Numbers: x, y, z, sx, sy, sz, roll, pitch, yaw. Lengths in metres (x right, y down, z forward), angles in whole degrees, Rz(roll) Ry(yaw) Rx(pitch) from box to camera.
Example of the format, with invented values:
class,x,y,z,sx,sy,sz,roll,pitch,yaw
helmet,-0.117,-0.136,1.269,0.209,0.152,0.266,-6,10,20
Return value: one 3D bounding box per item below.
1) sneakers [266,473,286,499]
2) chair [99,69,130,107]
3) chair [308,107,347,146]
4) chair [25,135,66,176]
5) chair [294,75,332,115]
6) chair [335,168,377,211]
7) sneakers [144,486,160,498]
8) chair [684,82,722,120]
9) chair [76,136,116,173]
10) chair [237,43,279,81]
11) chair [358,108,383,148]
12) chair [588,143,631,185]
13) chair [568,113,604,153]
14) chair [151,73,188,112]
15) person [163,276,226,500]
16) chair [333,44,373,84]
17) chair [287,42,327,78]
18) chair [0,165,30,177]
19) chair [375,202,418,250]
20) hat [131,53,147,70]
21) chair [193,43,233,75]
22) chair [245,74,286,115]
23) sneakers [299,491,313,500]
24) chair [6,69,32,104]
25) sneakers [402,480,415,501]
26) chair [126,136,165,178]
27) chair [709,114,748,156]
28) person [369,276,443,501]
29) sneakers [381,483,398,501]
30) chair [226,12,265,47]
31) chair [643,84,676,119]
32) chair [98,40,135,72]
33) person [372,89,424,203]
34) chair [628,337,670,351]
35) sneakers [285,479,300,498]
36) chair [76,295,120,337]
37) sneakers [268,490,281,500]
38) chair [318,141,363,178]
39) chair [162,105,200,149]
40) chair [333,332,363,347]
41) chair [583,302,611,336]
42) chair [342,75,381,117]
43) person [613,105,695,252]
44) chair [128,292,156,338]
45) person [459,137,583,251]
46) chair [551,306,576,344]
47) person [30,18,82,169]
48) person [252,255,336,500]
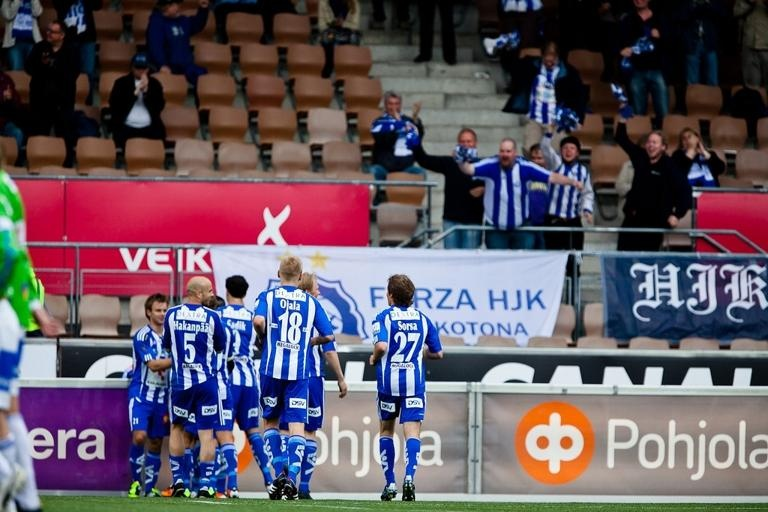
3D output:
class,x,y,z,sx,sy,sz,roll,pitch,yaw
sneakers,-1.473,3.133,27.595,0.254,0.350,0.173,-3,4,-5
chair,-4.561,-2.784,34.264,0.492,0.734,0.564,1,9,-10
chair,-0.966,-2.132,33.759,0.668,0.600,0.470,-4,4,-6
chair,-5.605,-1.608,33.153,0.703,0.845,0.720,5,10,-3
chair,-1.236,-2.703,34.624,0.720,0.665,0.745,-6,12,-43
chair,-0.488,-0.994,32.188,0.591,0.810,0.604,0,3,-2
sneakers,-3.279,3.298,28.305,0.201,0.165,0.115,-1,6,-5
chair,5.502,-2.640,34.914,0.518,0.719,0.582,0,7,-2
chair,-4.732,-1.539,32.975,0.594,0.709,0.650,2,-5,-16
chair,-2.185,-3.315,35.030,0.781,0.765,0.726,2,19,-1
chair,-0.321,-2.110,33.736,0.409,0.775,0.519,1,9,-5
chair,3.690,-1.463,33.245,0.546,0.798,0.601,1,4,-5
chair,3.477,-1.970,33.814,0.482,0.842,0.574,-1,19,-4
chair,-3.623,-2.723,33.818,0.514,0.535,0.453,5,2,-7
person,-2.640,1.822,28.022,0.820,2.997,0.565,0,5,35
chair,-0.549,-3.507,34.978,0.622,0.608,0.555,5,43,3
chair,-1.417,-3.280,35.228,0.750,0.633,0.715,-3,11,-13
chair,-5.648,-1.250,30.641,0.440,0.110,0.122,7,-41,-43
chair,0.170,-0.478,31.731,0.621,0.698,0.729,0,2,-13
hat,-3.984,-3.100,32.679,0.259,0.250,0.235,-4,4,-10
chair,-2.979,-3.341,34.715,0.510,0.622,0.507,0,0,-42
chair,-2.052,-2.700,34.220,0.631,0.600,0.595,11,-6,12
sneakers,-1.103,3.305,27.883,0.146,0.167,0.100,17,-10,-33
chair,-6.215,-2.830,34.328,0.467,0.690,0.535,0,2,-13
sneakers,0.321,3.210,27.743,0.182,0.312,0.217,-3,4,-6
chair,-3.925,-1.566,32.895,0.554,0.929,0.616,0,7,-10
chair,5.876,-2.023,34.399,0.509,0.782,0.613,1,-1,-1
person,0.266,1.835,27.928,0.910,3.088,0.712,-3,4,-6
sneakers,0.056,3.244,27.878,0.216,0.260,0.347,-3,4,-6
chair,-2.498,-3.891,35.518,0.708,0.631,0.720,2,7,7
chair,4.764,-2.552,34.547,0.367,0.536,0.514,0,-2,3
chair,-4.637,-3.378,34.703,0.492,0.626,0.535,0,2,9
person,0.232,-1.652,32.239,0.957,2.017,0.910,-5,-8,40
chair,3.974,1.304,30.247,0.583,0.180,0.168,-3,4,9
sneakers,-1.284,3.178,27.621,0.126,0.285,0.264,0,5,40
chair,-4.275,0.857,30.143,0.634,0.709,0.603,-3,-23,1
sneakers,-1.513,3.263,27.636,0.084,0.104,0.147,-1,3,-39
chair,-0.720,-1.517,32.729,0.504,0.828,0.625,0,-5,-7
chair,-3.422,-2.101,33.539,0.526,0.764,0.578,-2,11,-18
chair,-0.555,1.252,30.115,0.773,0.115,0.209,2,34,-9
chair,3.203,0.939,30.480,0.319,0.459,0.492,2,14,11
chair,-0.383,-2.641,34.612,0.691,0.796,0.656,-1,1,10
person,4.161,-1.119,31.200,1.140,2.076,0.741,-2,4,9
chair,-3.745,0.869,30.347,0.376,0.806,0.534,2,7,-13
person,2.091,-0.844,30.973,1.435,2.085,0.761,0,1,1
chair,2.691,1.043,30.448,0.324,0.560,0.449,4,-2,24
person,-5.483,-2.414,33.009,0.748,2.774,0.781,3,-16,-13
person,-1.292,1.674,27.799,0.956,3.220,0.666,-3,4,-5
